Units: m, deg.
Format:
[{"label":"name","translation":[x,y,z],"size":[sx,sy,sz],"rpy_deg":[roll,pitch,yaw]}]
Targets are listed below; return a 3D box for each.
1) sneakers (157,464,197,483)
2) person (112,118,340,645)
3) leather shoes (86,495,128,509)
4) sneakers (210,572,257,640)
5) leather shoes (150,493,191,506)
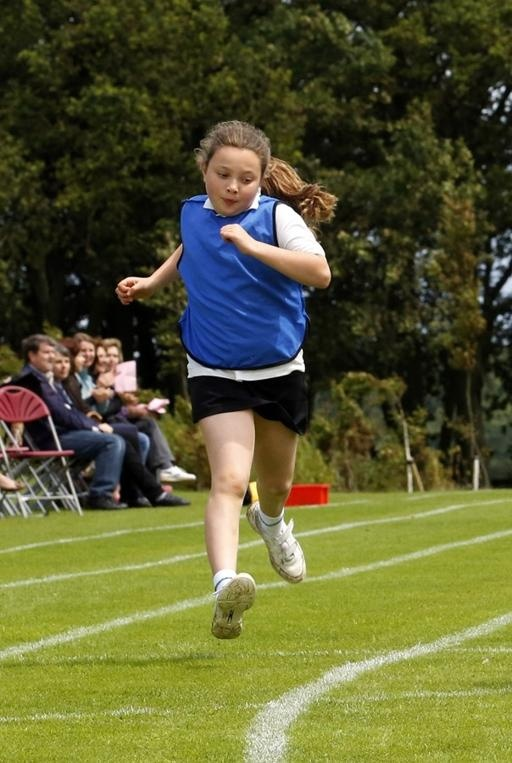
[{"label":"sneakers","translation":[-0.437,0.488,5.594],"size":[0.223,0.086,0.076],"rpy_deg":[1,-8,2]},{"label":"person","translation":[0.007,0.039,2.717],"size":[0.523,1.413,0.905],"rpy_deg":[-3,6,-3]},{"label":"leather shoes","translation":[-0.683,0.537,4.631],"size":[0.212,0.077,0.066],"rpy_deg":[1,-2,0]},{"label":"sneakers","translation":[-0.052,0.507,2.390],"size":[0.078,0.186,0.087],"rpy_deg":[17,34,-7]},{"label":"leather shoes","translation":[-0.407,0.558,4.949],"size":[0.196,0.070,0.065],"rpy_deg":[0,0,-3]}]
